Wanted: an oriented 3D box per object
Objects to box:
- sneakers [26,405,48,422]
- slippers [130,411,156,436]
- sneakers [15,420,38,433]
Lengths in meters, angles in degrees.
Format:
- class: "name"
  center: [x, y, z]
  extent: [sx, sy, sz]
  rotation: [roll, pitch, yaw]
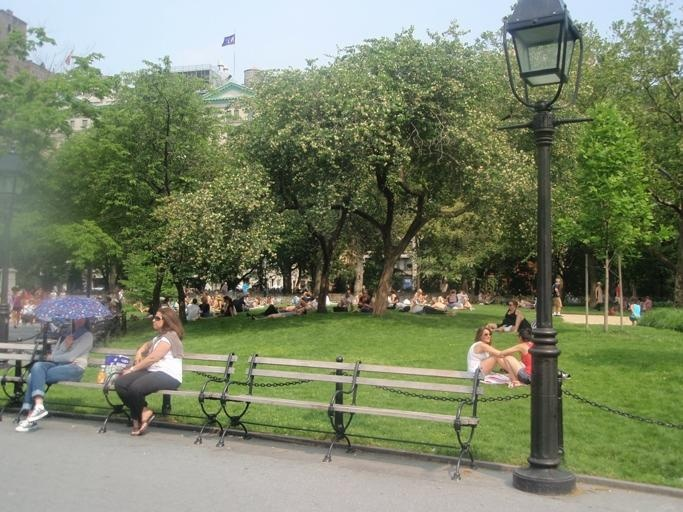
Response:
- class: "sneakers"
  center: [-5.710, 2.962, 14.194]
  extent: [0.314, 0.305, 0.256]
  rotation: [2, -3, -25]
- class: "slippers"
  center: [-3.694, 3.166, 14.085]
  extent: [0.196, 0.559, 0.282]
  rotation: [33, -13, -10]
- class: "sneakers"
  center: [-5.939, 3.201, 14.124]
  extent: [0.473, 0.228, 0.193]
  rotation: [5, -6, -13]
